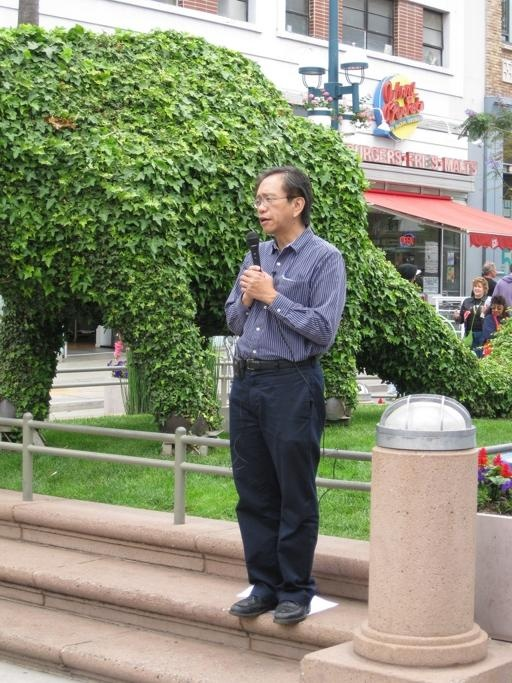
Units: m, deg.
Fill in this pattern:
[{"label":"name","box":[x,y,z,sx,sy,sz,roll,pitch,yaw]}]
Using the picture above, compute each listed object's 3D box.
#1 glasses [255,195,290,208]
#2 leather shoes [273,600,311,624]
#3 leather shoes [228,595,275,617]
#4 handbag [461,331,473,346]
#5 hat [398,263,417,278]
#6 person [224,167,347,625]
[{"label":"glasses","box":[0.044,-0.540,3.221,0.074,0.046,0.164,-1,2,-34]},{"label":"leather shoes","box":[0.135,0.993,3.103,0.062,0.063,0.159,-3,-7,20]},{"label":"leather shoes","box":[-0.024,1.015,3.233,0.195,0.072,0.075,3,6,-40]},{"label":"handbag","box":[2.836,-0.059,11.213,0.113,0.105,0.499,27,14,17]},{"label":"hat","box":[2.249,-1.037,12.411,0.223,0.227,0.384,0,1,5]},{"label":"person","box":[0.067,0.201,3.228,0.473,1.751,0.390,2,3,37]}]
